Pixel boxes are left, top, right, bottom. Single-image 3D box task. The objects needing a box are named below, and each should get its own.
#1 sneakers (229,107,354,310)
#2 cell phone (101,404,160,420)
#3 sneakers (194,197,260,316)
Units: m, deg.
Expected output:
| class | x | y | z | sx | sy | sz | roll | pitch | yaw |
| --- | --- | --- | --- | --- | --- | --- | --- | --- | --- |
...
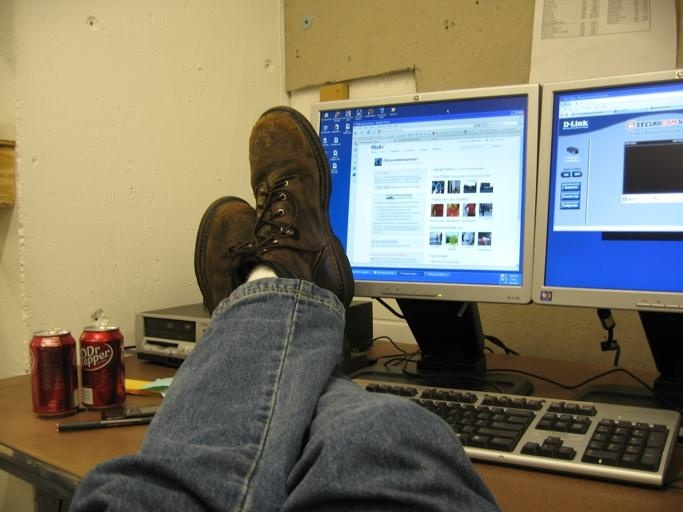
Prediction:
| class | x | y | z | sx | sy | sz | roll | pitch | yaw |
| --- | --- | --- | --- | --- | --- | --- | --- | --- | --- |
| sneakers | -0.095 | -0.092 | 1.035 | 0.134 | 0.432 | 0.177 | -4 | 2 | 22 |
| cell phone | -0.319 | 0.232 | 0.880 | 0.069 | 0.014 | 0.039 | -1 | 6 | -7 |
| sneakers | -0.214 | -0.023 | 1.153 | 0.093 | 0.276 | 0.104 | 3 | -3 | 8 |
